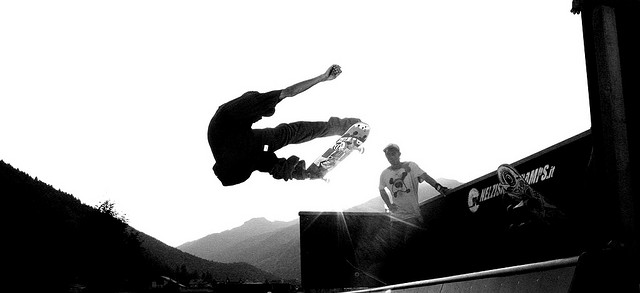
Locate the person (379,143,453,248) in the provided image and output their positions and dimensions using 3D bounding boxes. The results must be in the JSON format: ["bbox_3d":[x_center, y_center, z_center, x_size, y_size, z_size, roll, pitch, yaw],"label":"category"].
[{"bbox_3d":[1.603,0.927,8.377,0.666,1.730,1.081,3,-42,-10],"label":"person"}]
